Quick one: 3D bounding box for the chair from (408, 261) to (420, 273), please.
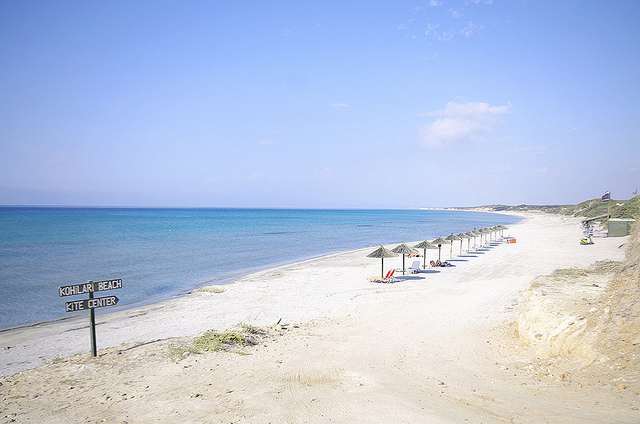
[{"bbox_3d":[6.965,3.878,31.341,0.643,0.843,0.644,2,-8,17],"label":"chair"}]

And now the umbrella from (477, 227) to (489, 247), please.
[{"bbox_3d":[18.030,2.795,47.257,2.147,1.944,1.989,0,5,21],"label":"umbrella"}]

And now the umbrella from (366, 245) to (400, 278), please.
[{"bbox_3d":[3.997,3.406,28.973,2.220,1.854,2.536,2,5,40],"label":"umbrella"}]

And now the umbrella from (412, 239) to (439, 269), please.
[{"bbox_3d":[7.997,2.930,32.465,1.573,1.504,1.480,1,4,24],"label":"umbrella"}]

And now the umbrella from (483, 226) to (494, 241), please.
[{"bbox_3d":[18.501,2.153,46.759,1.106,1.096,1.058,-1,-3,-5],"label":"umbrella"}]

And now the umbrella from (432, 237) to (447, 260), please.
[{"bbox_3d":[9.190,2.942,34.631,1.904,1.767,1.756,-1,5,19],"label":"umbrella"}]

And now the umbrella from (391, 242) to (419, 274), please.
[{"bbox_3d":[5.668,3.126,30.159,2.240,2.062,2.194,0,-1,-14],"label":"umbrella"}]

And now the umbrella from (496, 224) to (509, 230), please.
[{"bbox_3d":[24.220,2.037,56.732,1.207,0.429,1.454,-2,-2,5],"label":"umbrella"}]

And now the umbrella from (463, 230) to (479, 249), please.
[{"bbox_3d":[15.376,2.851,43.503,2.269,1.957,2.036,-1,4,7],"label":"umbrella"}]

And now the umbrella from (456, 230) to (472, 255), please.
[{"bbox_3d":[12.679,2.600,38.165,2.161,2.225,2.006,1,3,20],"label":"umbrella"}]

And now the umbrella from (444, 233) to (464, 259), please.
[{"bbox_3d":[11.437,2.786,37.587,2.101,2.035,2.093,2,4,40],"label":"umbrella"}]
